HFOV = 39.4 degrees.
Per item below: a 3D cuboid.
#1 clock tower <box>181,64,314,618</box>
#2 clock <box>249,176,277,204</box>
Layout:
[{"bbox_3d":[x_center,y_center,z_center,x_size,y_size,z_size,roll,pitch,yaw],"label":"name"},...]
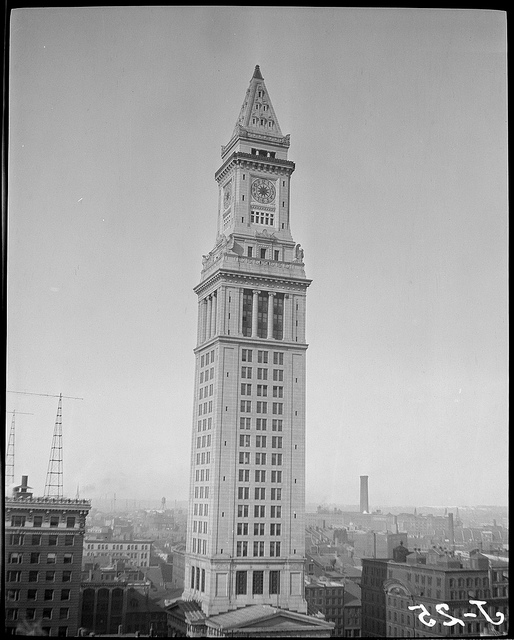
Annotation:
[{"bbox_3d":[-0.103,0.895,11.392,1.792,7.044,3.189,0,-15,4],"label":"clock tower"},{"bbox_3d":[0.112,-2.181,11.951,0.448,0.254,0.556,0,-19,6],"label":"clock"}]
